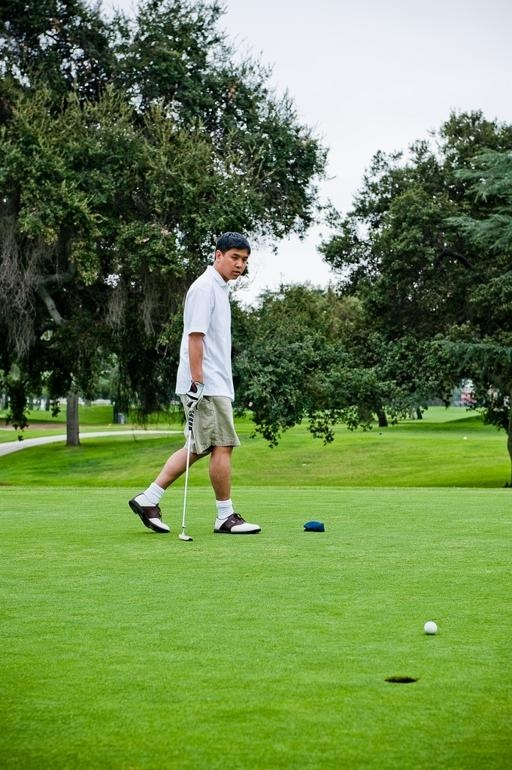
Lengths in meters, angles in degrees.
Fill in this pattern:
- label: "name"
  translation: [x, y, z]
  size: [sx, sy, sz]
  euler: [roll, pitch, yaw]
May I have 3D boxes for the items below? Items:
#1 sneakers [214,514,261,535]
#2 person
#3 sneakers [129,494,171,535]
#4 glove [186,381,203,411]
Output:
- label: "sneakers"
  translation: [-0.132, 0.885, 5.848]
  size: [0.335, 0.115, 0.132]
  euler: [-2, -2, 39]
- label: "person"
  translation: [-0.363, -0.048, 6.006]
  size: [0.858, 1.991, 0.646]
  euler: [0, -1, -19]
- label: "sneakers"
  translation: [-0.687, 0.831, 5.922]
  size: [0.256, 0.226, 0.342]
  euler: [0, -1, -3]
- label: "glove"
  translation: [-0.390, 0.076, 5.843]
  size: [0.102, 0.170, 0.147]
  euler: [0, -1, -5]
